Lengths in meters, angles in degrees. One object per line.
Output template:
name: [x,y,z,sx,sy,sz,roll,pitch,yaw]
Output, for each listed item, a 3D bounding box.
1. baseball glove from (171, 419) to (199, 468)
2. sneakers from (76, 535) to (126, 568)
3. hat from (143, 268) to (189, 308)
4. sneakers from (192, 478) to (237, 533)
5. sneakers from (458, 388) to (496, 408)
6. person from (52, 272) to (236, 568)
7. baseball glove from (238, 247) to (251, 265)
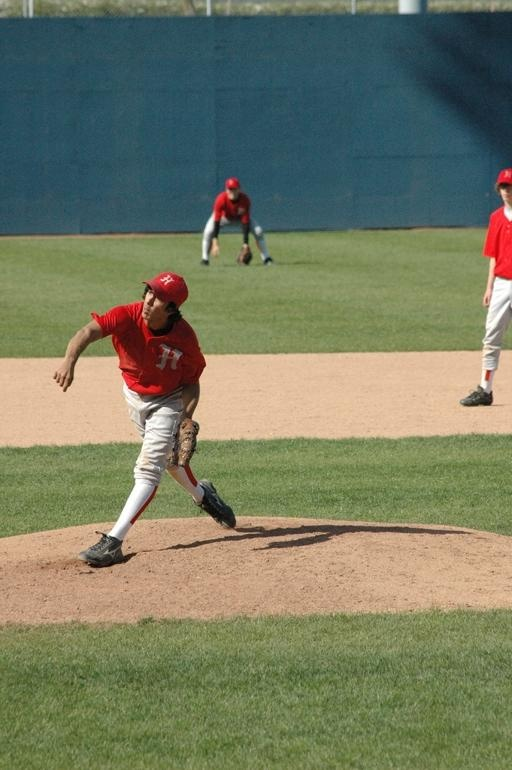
baseball glove: [-0.375,0.326,9.260,0.138,0.261,0.091,14,1,37]
sneakers: [-0.841,0.924,9.246,0.294,0.171,0.110,5,-6,-32]
hat: [-0.482,-0.500,8.905,0.210,0.182,0.251,-1,9,-5]
sneakers: [-0.224,0.724,9.870,0.122,0.394,0.176,-24,23,28]
sneakers: [1.860,0.100,14.019,0.327,0.214,0.120,-1,9,-15]
person: [-0.594,0.171,9.292,0.674,1.631,1.152,4,10,29]
baseball glove: [-0.189,-2.031,26.250,0.211,0.216,0.496,-6,-9,5]
